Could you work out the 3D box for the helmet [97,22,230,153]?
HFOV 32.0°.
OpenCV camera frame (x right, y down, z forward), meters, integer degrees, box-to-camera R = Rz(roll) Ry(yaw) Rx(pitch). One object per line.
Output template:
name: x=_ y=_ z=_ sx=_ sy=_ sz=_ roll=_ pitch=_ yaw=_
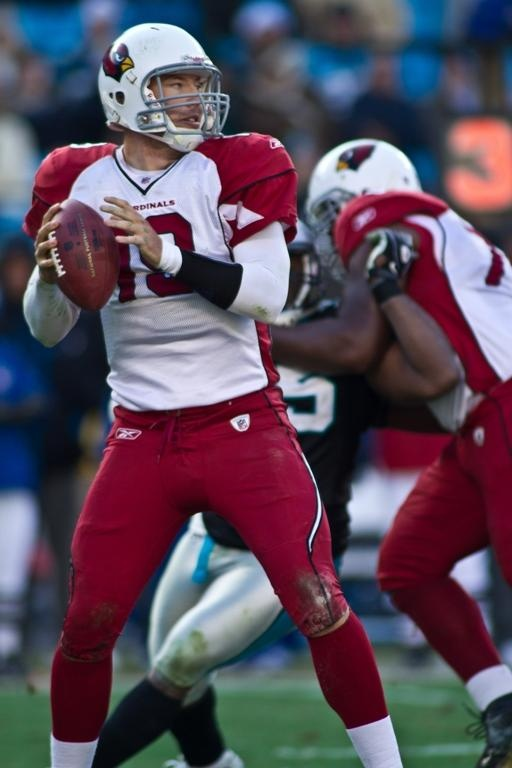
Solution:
helmet: x=-0.160 y=-0.537 z=1.671 sx=0.280 sy=0.207 sz=0.201 roll=11 pitch=11 yaw=42
